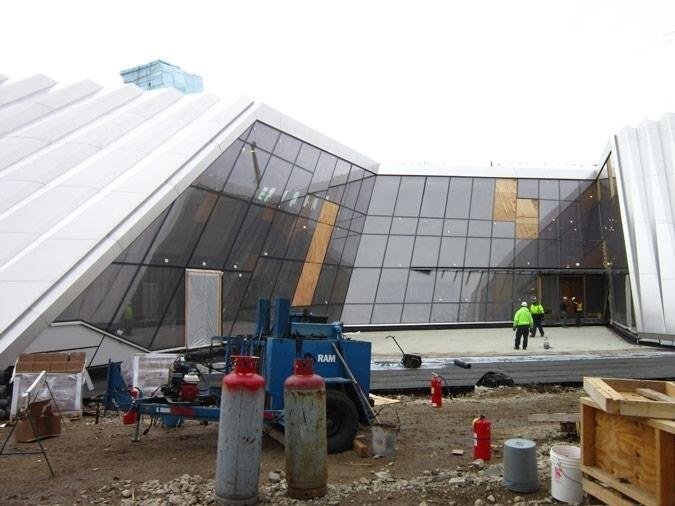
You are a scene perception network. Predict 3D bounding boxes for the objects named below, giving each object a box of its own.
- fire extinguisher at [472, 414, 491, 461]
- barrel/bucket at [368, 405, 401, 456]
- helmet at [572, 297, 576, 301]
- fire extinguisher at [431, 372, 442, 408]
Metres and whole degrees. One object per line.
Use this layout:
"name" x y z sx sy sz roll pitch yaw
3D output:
"fire extinguisher" 2.456 3.127 6.892 0.276 0.741 0.366 1 -10 17
"barrel/bucket" 1.033 3.791 8.638 0.642 1.029 0.213 8 -17 -7
"helmet" 15.066 2.948 25.975 0.183 0.174 0.310 0 -9 16
"fire extinguisher" 2.953 4.117 12.059 0.279 0.797 0.491 1 -10 19
